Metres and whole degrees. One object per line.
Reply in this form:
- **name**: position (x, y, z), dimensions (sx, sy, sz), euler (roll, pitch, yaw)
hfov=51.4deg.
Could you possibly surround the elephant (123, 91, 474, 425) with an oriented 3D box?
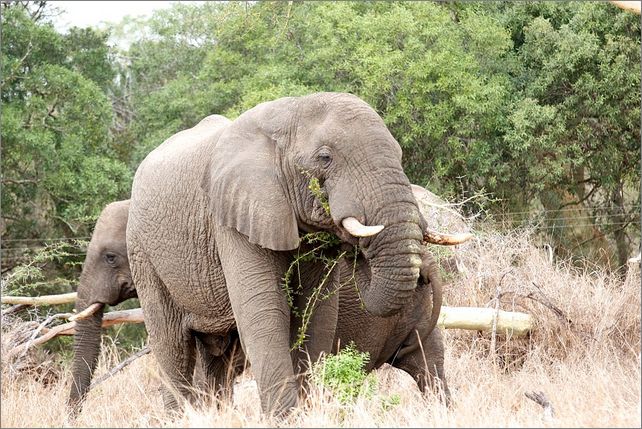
- **elephant**: position (-0.541, 0.737, 7.083), dimensions (1.913, 3.500, 4.082), euler (2, -11, -44)

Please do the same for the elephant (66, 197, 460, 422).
- **elephant**: position (-0.721, 1.286, 8.680), dimensions (4.458, 2.758, 2.186), euler (0, -7, 14)
